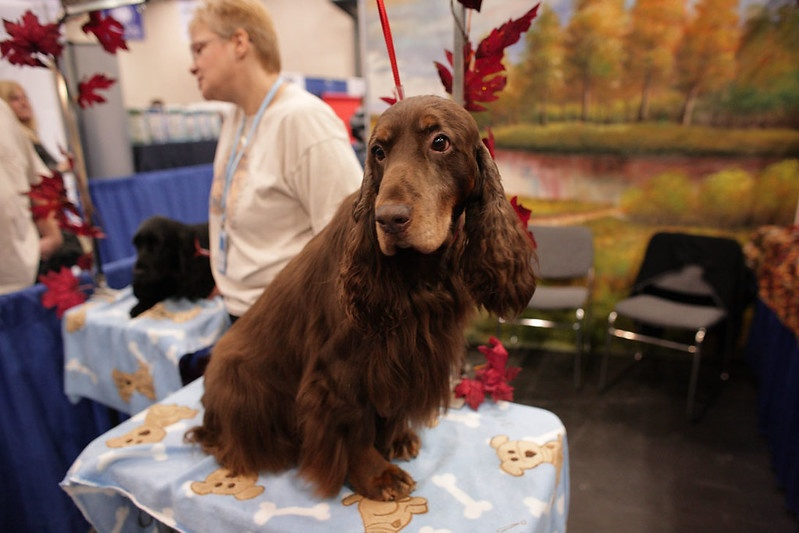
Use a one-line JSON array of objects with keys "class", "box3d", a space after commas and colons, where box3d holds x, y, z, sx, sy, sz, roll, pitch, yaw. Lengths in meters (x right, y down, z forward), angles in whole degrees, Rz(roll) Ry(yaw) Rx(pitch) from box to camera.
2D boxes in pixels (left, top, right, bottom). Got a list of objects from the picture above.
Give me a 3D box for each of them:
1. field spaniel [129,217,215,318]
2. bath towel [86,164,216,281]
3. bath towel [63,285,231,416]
[{"class": "field spaniel", "box3d": [-1.690, -0.012, 4.569, 0.513, 0.562, 0.801, 1, 9, 15]}, {"class": "bath towel", "box3d": [-2.203, -0.381, 5.356, 0.109, 0.794, 1.157, 1, 11, 37]}, {"class": "bath towel", "box3d": [-1.790, 0.561, 4.363, 0.897, 0.545, 0.899, 9, 21, 25]}]
